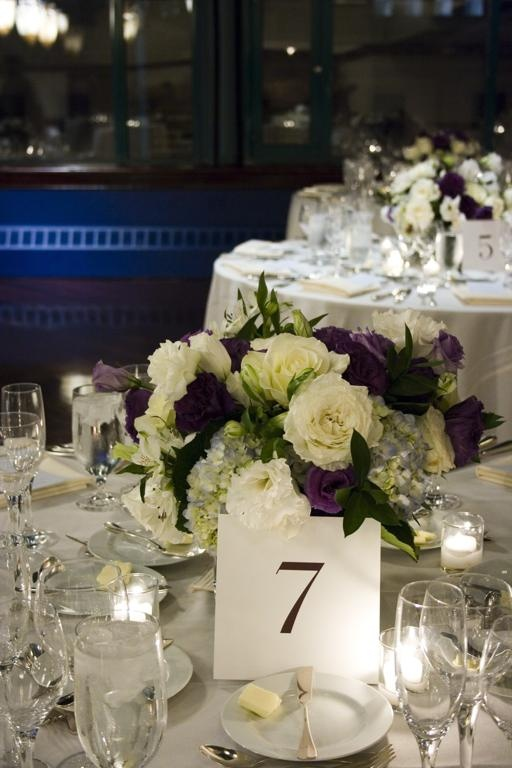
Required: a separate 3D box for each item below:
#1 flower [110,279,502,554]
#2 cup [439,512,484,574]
[{"bbox_3d":[0.092,0.067,0.805,0.299,0.259,0.357,-18,3,16],"label":"flower"},{"bbox_3d":[0.280,0.217,0.928,0.074,0.079,0.073,-1,9,0],"label":"cup"}]
